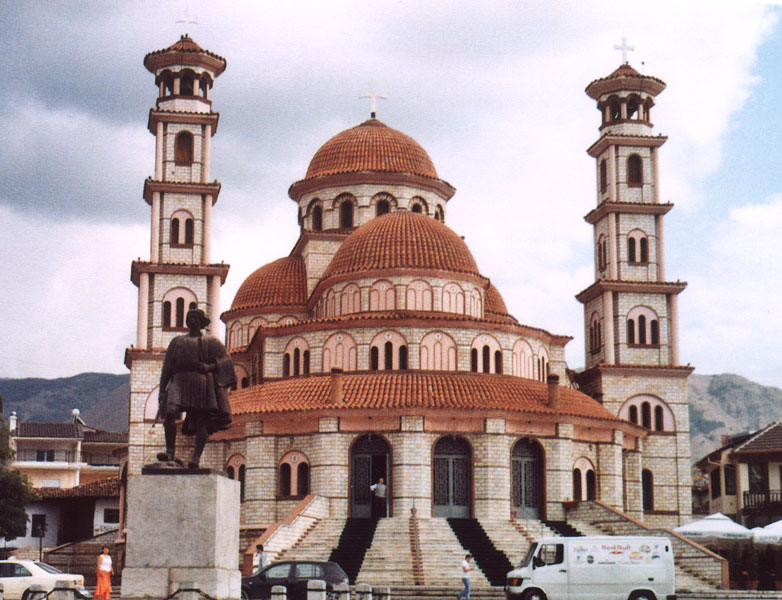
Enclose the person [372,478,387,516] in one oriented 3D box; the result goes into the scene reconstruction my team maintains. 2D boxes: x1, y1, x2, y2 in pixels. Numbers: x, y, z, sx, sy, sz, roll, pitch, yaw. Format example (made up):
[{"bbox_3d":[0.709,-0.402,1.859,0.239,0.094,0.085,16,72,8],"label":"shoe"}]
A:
[{"bbox_3d":[-0.450,9.208,80.745,0.718,1.151,0.980,-4,-3,-6],"label":"person"}]
